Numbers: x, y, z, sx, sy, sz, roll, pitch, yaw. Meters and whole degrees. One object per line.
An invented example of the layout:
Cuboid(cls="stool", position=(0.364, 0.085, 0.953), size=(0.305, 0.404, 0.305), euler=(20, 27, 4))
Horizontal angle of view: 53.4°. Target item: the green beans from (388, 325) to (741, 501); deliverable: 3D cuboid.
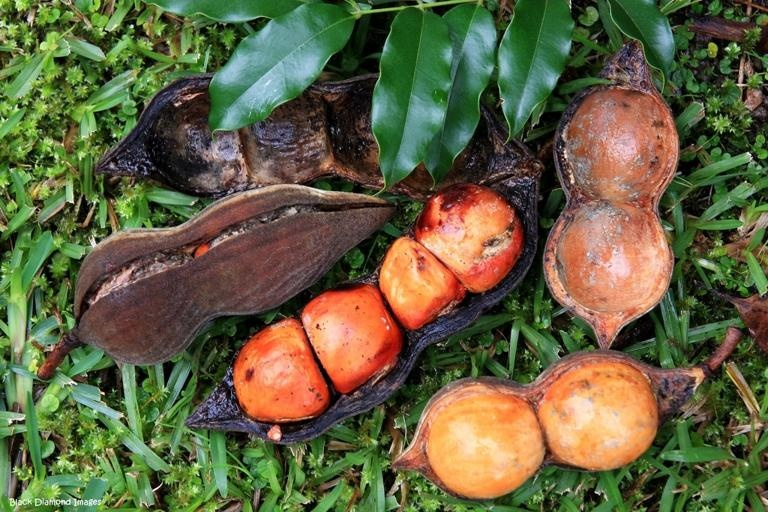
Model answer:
Cuboid(cls="green beans", position=(0.637, 0.629, 2.930), size=(1.258, 0.174, 0.452), euler=(-13, 76, 2))

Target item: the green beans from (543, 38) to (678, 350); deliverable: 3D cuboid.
Cuboid(cls="green beans", position=(0.908, -0.244, 3.040), size=(0.485, 0.274, 1.165), euler=(5, 78, 6))

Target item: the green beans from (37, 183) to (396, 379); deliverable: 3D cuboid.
Cuboid(cls="green beans", position=(-0.636, 0.110, 2.952), size=(1.487, 0.373, 0.634), euler=(-17, 80, 6))
